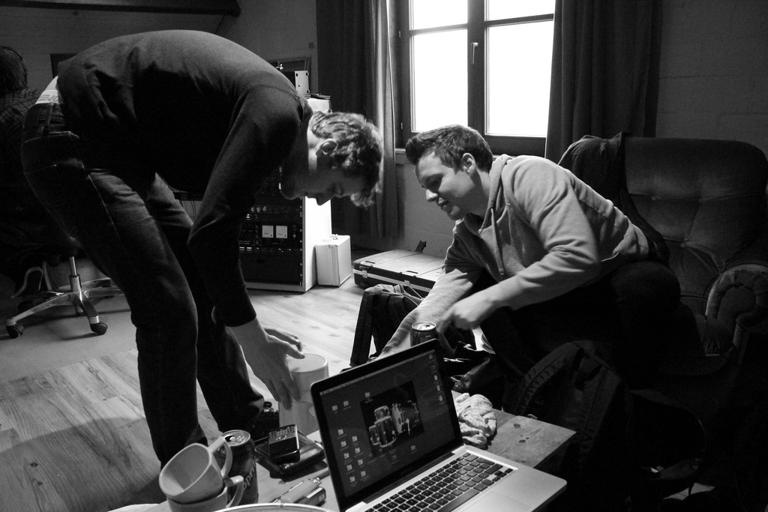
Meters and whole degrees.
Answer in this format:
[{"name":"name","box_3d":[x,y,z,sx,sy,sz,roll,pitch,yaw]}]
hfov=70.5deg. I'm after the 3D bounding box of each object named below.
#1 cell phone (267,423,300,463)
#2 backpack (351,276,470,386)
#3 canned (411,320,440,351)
[{"name":"cell phone","box_3d":[-0.284,0.537,1.544,0.087,0.069,0.102,-5,16,-10]},{"name":"backpack","box_3d":[0.116,0.337,2.550,0.487,0.477,0.358,-1,17,5]},{"name":"canned","box_3d":[0.128,0.257,1.799,0.078,0.126,0.079,4,18,27]}]
